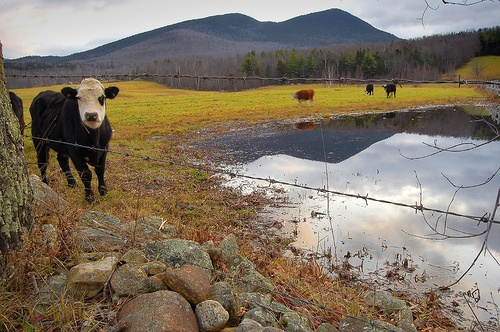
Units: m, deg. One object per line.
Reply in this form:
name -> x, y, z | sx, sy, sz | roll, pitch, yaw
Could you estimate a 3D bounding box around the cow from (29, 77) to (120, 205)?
cow -> -5.325, -0.883, 11.534 | 4.781, 3.457, 1.701 | 12, 13, 42
